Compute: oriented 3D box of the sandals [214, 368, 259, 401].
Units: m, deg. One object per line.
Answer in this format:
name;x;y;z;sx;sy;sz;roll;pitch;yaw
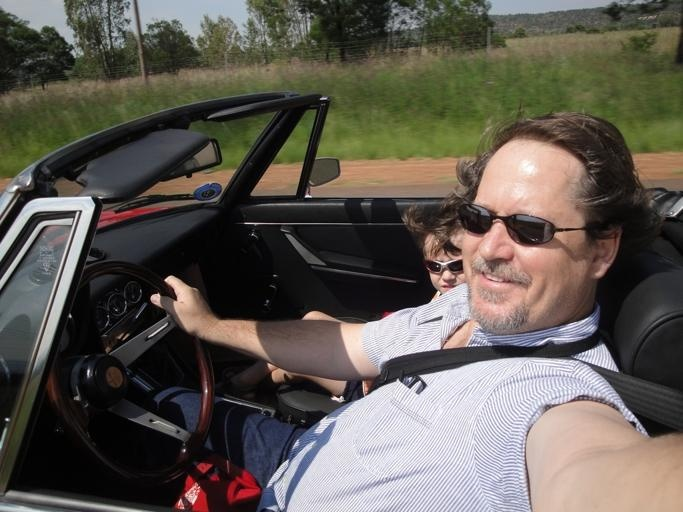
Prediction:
sandals;-0.581;0.716;2.501;0.230;0.159;0.081;1;-15;-3
